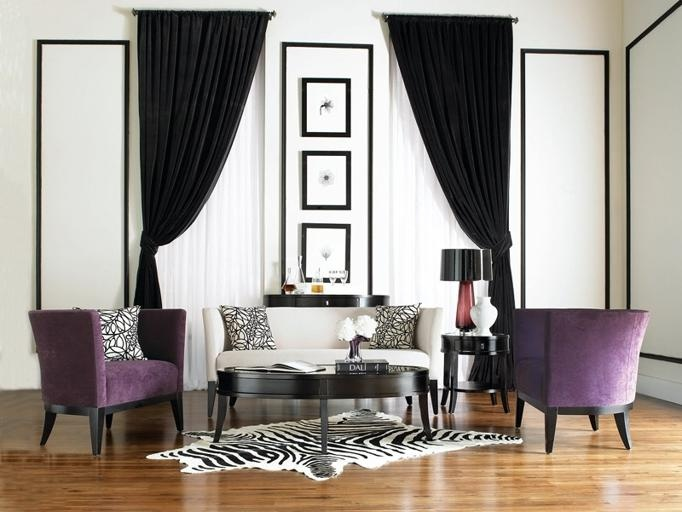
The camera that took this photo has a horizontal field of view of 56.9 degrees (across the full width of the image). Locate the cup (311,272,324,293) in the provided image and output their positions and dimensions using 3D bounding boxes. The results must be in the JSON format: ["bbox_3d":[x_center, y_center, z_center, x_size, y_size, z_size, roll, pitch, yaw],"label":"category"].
[{"bbox_3d":[-0.255,0.276,6.880,0.139,0.244,0.155,0,4,-1],"label":"cup"}]

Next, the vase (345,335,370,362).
[{"bbox_3d":[0.126,0.742,4.998,0.151,0.177,0.166,-1,-8,31],"label":"vase"}]

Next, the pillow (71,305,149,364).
[{"bbox_3d":[-1.846,0.651,5.040,0.376,0.367,0.144,-3,-22,-36],"label":"pillow"}]

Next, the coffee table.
[{"bbox_3d":[-0.126,1.122,4.646,1.630,0.540,0.396,0,4,-5],"label":"coffee table"}]

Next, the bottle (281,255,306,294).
[{"bbox_3d":[-0.504,0.205,6.802,0.250,0.385,0.323,0,4,-3],"label":"bottle"}]

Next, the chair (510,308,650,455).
[{"bbox_3d":[1.957,0.835,5.047,1.053,1.215,1.000,1,-2,-15],"label":"chair"}]

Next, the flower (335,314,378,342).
[{"bbox_3d":[0.123,0.574,4.986,0.302,0.195,0.183,0,4,-1],"label":"flower"}]

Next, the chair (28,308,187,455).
[{"bbox_3d":[-1.784,0.896,5.202,0.985,1.338,1.247,-3,-5,20],"label":"chair"}]

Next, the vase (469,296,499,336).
[{"bbox_3d":[1.320,0.559,5.881,0.283,0.389,0.291,-1,-4,11],"label":"vase"}]
